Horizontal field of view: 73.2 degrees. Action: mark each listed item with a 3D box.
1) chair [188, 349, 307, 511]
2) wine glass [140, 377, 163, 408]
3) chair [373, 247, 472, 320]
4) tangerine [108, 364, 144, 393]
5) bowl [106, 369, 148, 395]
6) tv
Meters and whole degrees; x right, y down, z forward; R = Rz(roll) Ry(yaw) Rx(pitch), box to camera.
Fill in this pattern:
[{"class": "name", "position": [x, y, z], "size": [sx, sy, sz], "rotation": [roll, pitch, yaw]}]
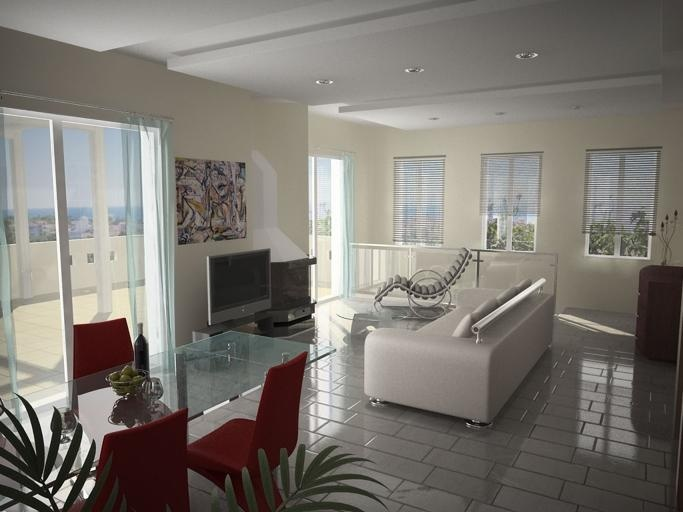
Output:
[{"class": "chair", "position": [-0.576, 1.066, 2.849], "size": [0.596, 0.939, 0.504], "rotation": [5, 10, 28]}, {"class": "wine glass", "position": [-1.157, 0.824, 2.826], "size": [0.125, 0.189, 0.127], "rotation": [2, 5, 44]}, {"class": "chair", "position": [1.342, 0.446, 7.403], "size": [1.671, 1.224, 0.920], "rotation": [0, 4, 0]}, {"class": "tangerine", "position": [-1.327, 0.759, 2.844], "size": [0.191, 0.114, 0.190], "rotation": [0, 3, -3]}, {"class": "bowl", "position": [-1.319, 0.748, 2.846], "size": [0.195, 0.116, 0.197], "rotation": [0, 2, 0]}, {"class": "tv", "position": [-1.316, 0.383, 5.828], "size": [0.081, 0.708, 0.967], "rotation": [3, 7, 28]}]
